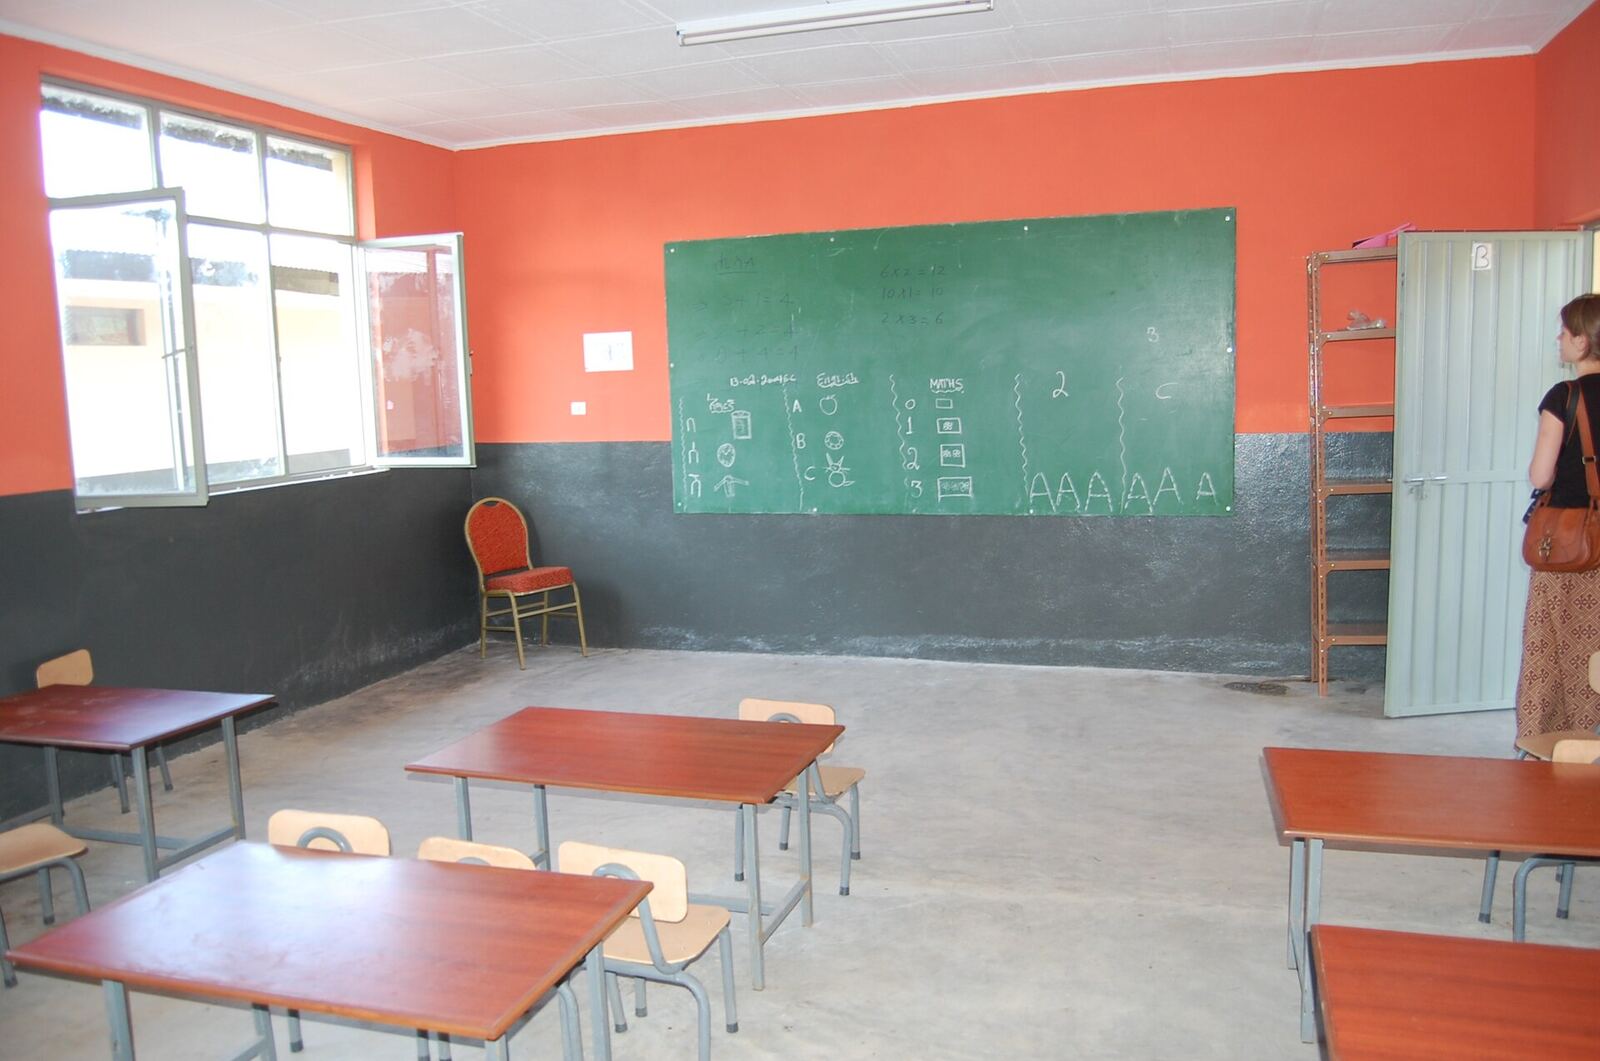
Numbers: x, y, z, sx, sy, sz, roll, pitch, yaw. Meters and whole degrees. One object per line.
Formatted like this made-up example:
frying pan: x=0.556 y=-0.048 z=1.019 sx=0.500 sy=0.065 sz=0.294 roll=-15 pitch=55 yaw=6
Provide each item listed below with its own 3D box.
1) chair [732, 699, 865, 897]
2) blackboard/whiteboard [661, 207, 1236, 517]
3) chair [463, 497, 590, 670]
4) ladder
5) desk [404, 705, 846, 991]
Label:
chair: x=0.016 y=1.239 z=5.512 sx=0.668 sy=0.813 sz=0.649 roll=0 pitch=-2 yaw=-45
blackboard/whiteboard: x=0.758 y=-1.089 z=8.371 sx=4.944 sy=2.201 sz=0.122 roll=5 pitch=14 yaw=40
chair: x=-2.173 y=0.345 z=8.807 sx=0.906 sy=1.185 sz=0.751 roll=3 pitch=9 yaw=43
ladder: x=3.519 y=-0.408 z=7.405 sx=0.522 sy=2.841 sz=0.611 roll=0 pitch=8 yaw=24
desk: x=-0.803 y=1.234 z=4.893 sx=1.447 sy=0.609 sz=0.833 roll=4 pitch=6 yaw=6
